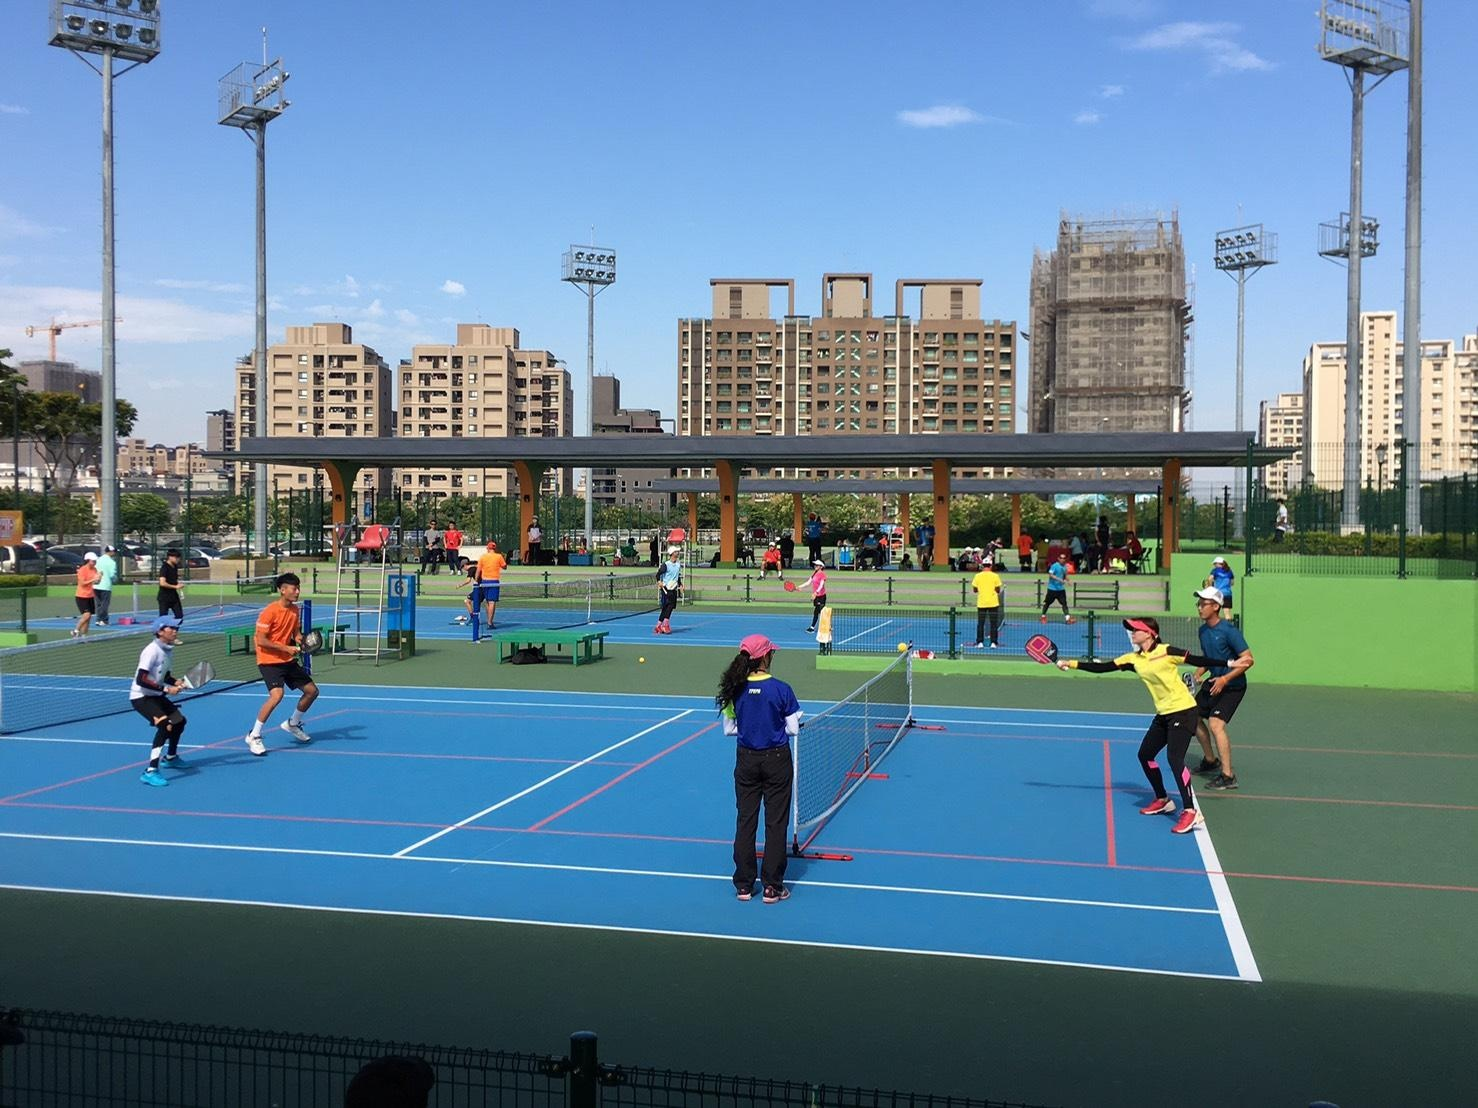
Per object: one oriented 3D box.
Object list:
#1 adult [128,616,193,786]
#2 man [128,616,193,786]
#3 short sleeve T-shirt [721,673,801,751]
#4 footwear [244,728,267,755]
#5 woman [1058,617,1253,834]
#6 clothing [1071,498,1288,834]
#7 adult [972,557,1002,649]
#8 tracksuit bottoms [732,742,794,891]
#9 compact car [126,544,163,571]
[{"bbox_3d":[-7.510,1.955,21.699,0.806,2.169,1.111,-4,22,-32],"label":"adult"},{"bbox_3d":[-7.510,1.955,21.699,0.806,2.169,1.111,-4,22,-32],"label":"man"},{"bbox_3d":[0.203,1.495,16.234,0.756,0.733,0.479,-3,12,11],"label":"short sleeve T-shirt"},{"bbox_3d":[-6.091,2.318,21.074,0.212,0.381,0.455,-4,13,-18],"label":"footwear"},{"bbox_3d":[4.679,1.739,18.461,1.217,2.278,1.460,9,15,37],"label":"woman"},{"bbox_3d":[5.038,1.811,18.429,2.415,3.387,2.089,0,-5,2],"label":"clothing"},{"bbox_3d":[4.397,0.833,29.741,0.542,1.584,0.500,0,-2,2],"label":"adult"},{"bbox_3d":[0.223,2.534,16.166,0.569,1.407,0.616,0,12,2],"label":"tracksuit bottoms"},{"bbox_3d":[-18.453,0.160,51.724,0.711,0.555,1.544,-1,8,-41],"label":"compact car"}]
